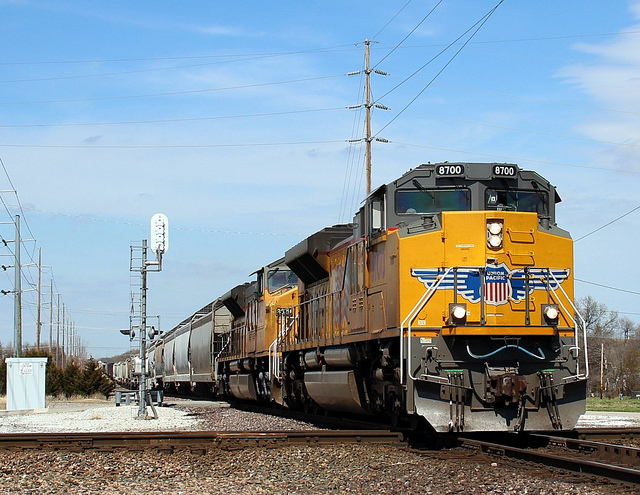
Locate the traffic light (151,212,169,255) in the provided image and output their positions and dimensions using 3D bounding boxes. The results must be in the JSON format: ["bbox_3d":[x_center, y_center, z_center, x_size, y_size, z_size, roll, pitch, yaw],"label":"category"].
[{"bbox_3d":[-4.725,-0.411,25.123,0.510,1.346,0.124,-1,26,-11],"label":"traffic light"}]

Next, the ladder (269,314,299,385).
[{"bbox_3d":[-1.259,3.021,24.502,0.557,2.139,0.674,8,-14,-39],"label":"ladder"}]
